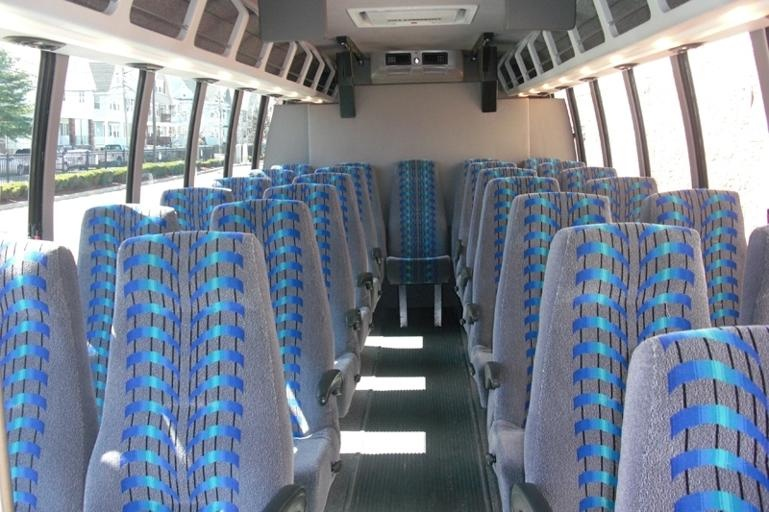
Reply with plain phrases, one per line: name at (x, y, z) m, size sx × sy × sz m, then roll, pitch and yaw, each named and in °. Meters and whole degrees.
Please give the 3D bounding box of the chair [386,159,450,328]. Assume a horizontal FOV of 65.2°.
chair at (0.391, -0.266, 7.155) m, size 0.774 × 1.650 × 1.701 m, roll -1°, pitch 13°, yaw 3°
